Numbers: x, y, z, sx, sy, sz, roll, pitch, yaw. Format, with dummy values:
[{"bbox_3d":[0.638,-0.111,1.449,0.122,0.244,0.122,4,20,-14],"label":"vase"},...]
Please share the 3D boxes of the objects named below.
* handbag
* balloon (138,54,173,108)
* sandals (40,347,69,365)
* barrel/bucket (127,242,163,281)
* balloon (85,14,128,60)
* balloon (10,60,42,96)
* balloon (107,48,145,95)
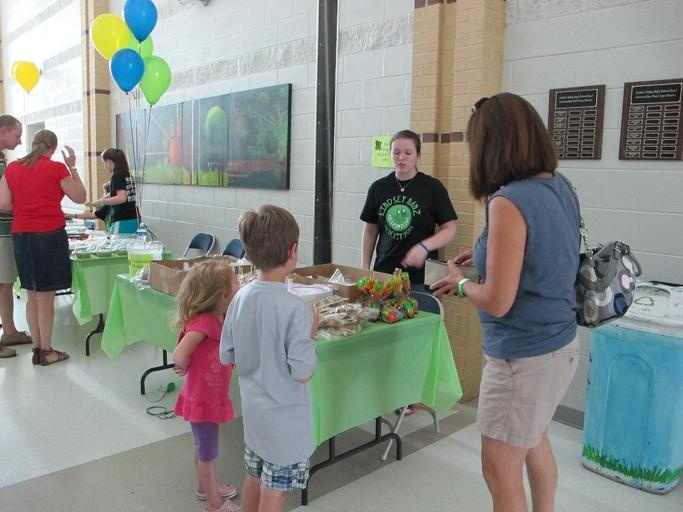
[{"bbox_3d":[1.136,0.113,2.144,0.189,0.347,0.322,10,15,39],"label":"handbag"},{"bbox_3d":[-1.999,-1.864,5.295,0.374,0.523,0.377,5,8,38],"label":"balloon"},{"bbox_3d":[-2.474,0.866,4.283,0.086,0.089,0.199,5,9,24],"label":"sandals"},{"bbox_3d":[-1.406,0.049,3.559,0.241,0.285,0.314,5,2,23],"label":"barrel/bucket"},{"bbox_3d":[-2.410,-2.229,5.154,0.331,0.542,0.372,-3,-2,-17],"label":"balloon"},{"bbox_3d":[-5.776,-3.302,9.162,0.431,0.564,0.479,-7,-1,-36],"label":"balloon"},{"bbox_3d":[-2.173,-1.873,5.042,0.342,0.475,0.352,5,6,44],"label":"balloon"}]
